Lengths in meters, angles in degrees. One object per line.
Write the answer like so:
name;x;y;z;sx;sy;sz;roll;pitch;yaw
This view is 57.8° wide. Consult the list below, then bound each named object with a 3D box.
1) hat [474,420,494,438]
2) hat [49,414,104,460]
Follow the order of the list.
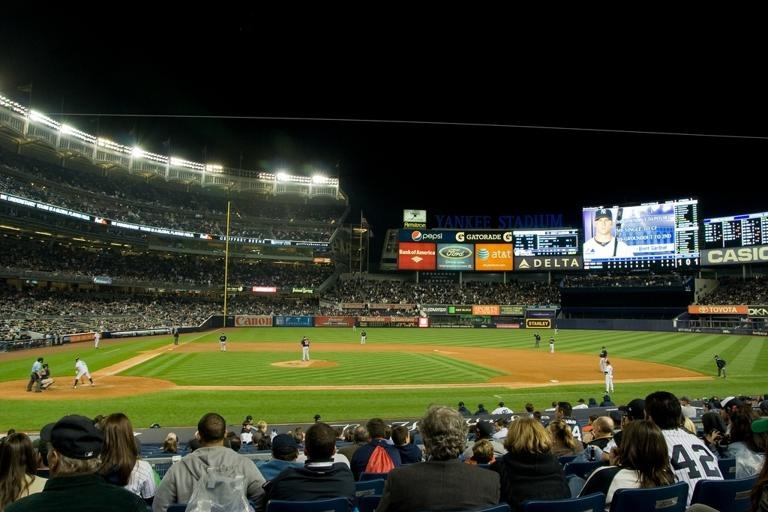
hat;3.044;5.257;21.129;0.540;0.585;0.639;1;10;1
hat;-7.653;4.566;17.396;1.384;0.666;0.993;19;10;33
